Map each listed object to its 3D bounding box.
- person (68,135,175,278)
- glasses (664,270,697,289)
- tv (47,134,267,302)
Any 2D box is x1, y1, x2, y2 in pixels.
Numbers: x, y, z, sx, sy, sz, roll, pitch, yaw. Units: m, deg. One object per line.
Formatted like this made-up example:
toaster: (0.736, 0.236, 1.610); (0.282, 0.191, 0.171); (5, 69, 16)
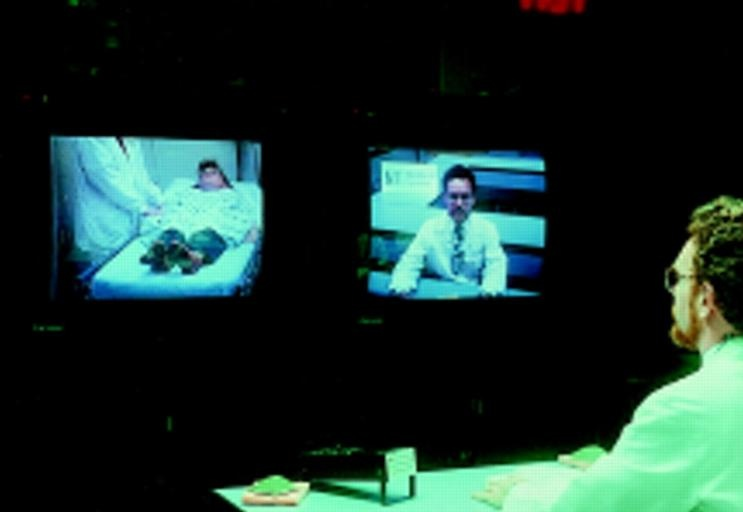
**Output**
person: (-1.416, -0.274, 4.615); (0.495, 0.759, 0.121); (-2, 7, 6)
glasses: (1.064, 0.075, 2.969); (0.167, 0.042, 0.097); (3, 6, 41)
tv: (-1.078, -0.205, 4.962); (1.420, 0.871, 0.803); (2, -3, 14)
